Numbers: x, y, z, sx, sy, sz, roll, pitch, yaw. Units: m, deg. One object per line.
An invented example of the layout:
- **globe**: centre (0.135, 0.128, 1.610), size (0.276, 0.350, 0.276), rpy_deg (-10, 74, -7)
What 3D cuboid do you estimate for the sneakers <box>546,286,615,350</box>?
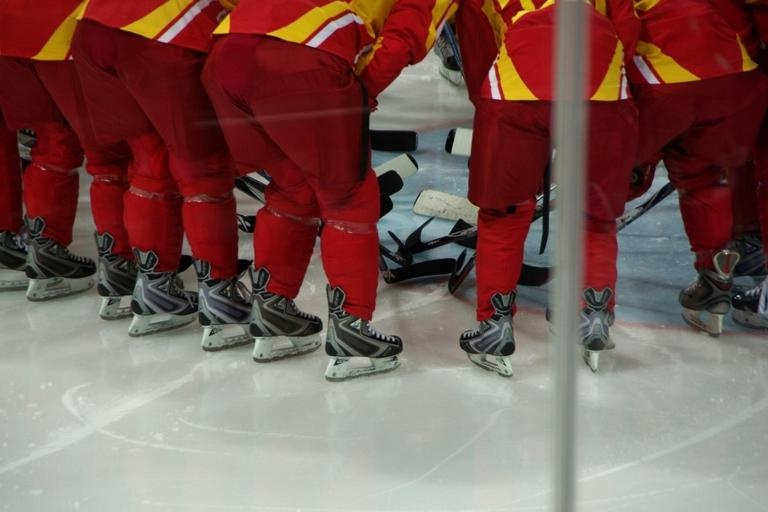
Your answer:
- **sneakers**: centre (0.463, 0.131, 1.546), size (0.114, 0.121, 0.295), rpy_deg (-1, 23, 4)
